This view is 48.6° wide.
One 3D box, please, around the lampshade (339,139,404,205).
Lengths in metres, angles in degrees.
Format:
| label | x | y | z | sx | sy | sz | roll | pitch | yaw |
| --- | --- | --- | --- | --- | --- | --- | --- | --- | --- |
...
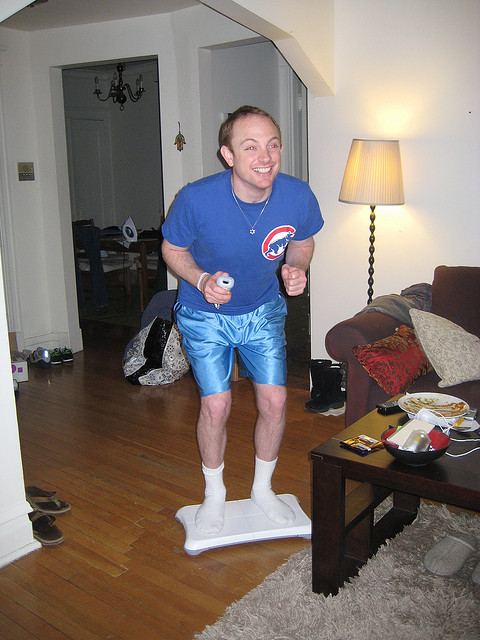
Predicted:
| label | x | y | z | sx | sy | sz | roll | pitch | yaw |
| --- | --- | --- | --- | --- | --- | --- | --- | --- | --- |
| lampshade | 0.710 | -0.791 | 2.881 | 0.368 | 0.363 | 0.359 | 4 | 9 | 15 |

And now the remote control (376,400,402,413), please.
| label | x | y | z | sx | sy | sz | roll | pitch | yaw |
| --- | --- | --- | --- | --- | --- | --- | --- | --- | --- |
| remote control | 0.481 | 0.278 | 1.714 | 0.074 | 0.023 | 0.078 | -5 | 8 | -3 |

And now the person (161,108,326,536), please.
| label | x | y | z | sx | sy | sz | roll | pitch | yaw |
| --- | --- | --- | --- | --- | --- | --- | --- | --- | --- |
| person | 0.048 | 0.034 | 1.757 | 0.613 | 1.336 | 0.477 | -5 | 13 | -24 |

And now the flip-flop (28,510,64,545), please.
| label | x | y | z | sx | sy | sz | roll | pitch | yaw |
| --- | --- | --- | --- | --- | --- | --- | --- | --- | --- |
| flip-flop | -0.693 | 0.734 | 1.898 | 0.066 | 0.047 | 0.167 | -5 | 9 | -39 |

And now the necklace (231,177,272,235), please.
| label | x | y | z | sx | sy | sz | roll | pitch | yaw |
| --- | --- | --- | --- | --- | --- | --- | --- | --- | --- |
| necklace | 0.038 | -0.337 | 1.565 | 0.115 | 0.163 | 0.045 | -5 | 9 | -1 |

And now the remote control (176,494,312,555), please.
| label | x | y | z | sx | sy | sz | roll | pitch | yaw |
| --- | --- | --- | --- | --- | --- | --- | --- | --- | --- |
| remote control | 0.023 | 0.714 | 1.864 | 0.445 | 0.067 | 0.233 | -3 | 15 | -15 |

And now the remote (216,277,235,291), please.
| label | x | y | z | sx | sy | sz | roll | pitch | yaw |
| --- | --- | --- | --- | --- | --- | --- | --- | --- | --- |
| remote | -0.030 | -0.099 | 1.455 | 0.046 | 0.031 | 0.059 | 9 | 2 | 2 |

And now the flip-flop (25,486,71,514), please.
| label | x | y | z | sx | sy | sz | roll | pitch | yaw |
| --- | --- | --- | --- | --- | --- | --- | --- | --- | --- |
| flip-flop | -0.755 | 0.676 | 2.084 | 0.235 | 0.057 | 0.091 | 7 | 6 | 41 |
